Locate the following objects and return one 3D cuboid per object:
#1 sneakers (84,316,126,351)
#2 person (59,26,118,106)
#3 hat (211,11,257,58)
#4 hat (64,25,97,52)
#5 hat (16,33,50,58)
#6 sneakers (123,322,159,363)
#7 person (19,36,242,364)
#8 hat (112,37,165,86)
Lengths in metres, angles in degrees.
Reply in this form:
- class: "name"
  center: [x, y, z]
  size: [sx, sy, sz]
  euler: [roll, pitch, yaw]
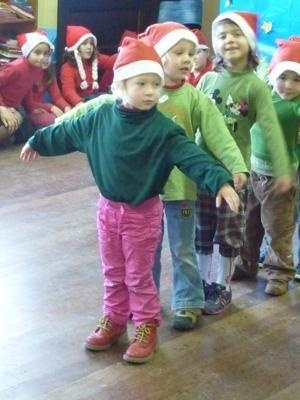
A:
- class: "sneakers"
  center: [-0.137, 0.409, 1.132]
  size: [0.169, 0.083, 0.067]
  euler: [1, 4, -45]
- class: "person"
  center: [-0.822, -1.848, 5.012]
  size: [0.822, 0.969, 0.676]
  euler: [-13, 32, -19]
- class: "hat"
  center: [0.343, -0.639, 1.467]
  size: [0.151, 0.192, 0.158]
  euler: [2, 8, 21]
- class: "hat"
  center: [-0.908, -2.206, 4.993]
  size: [0.509, 0.376, 0.361]
  euler: [9, 25, 21]
- class: "hat"
  center: [-1.386, -1.960, 4.534]
  size: [0.312, 0.270, 0.369]
  euler: [32, 47, 22]
- class: "sneakers"
  center: [-0.021, 0.411, 1.064]
  size: [0.067, 0.099, 0.169]
  euler: [-5, -7, 26]
- class: "person"
  center: [-0.057, 0.001, 1.083]
  size: [0.727, 0.920, 0.211]
  euler: [3, 3, 34]
- class: "hat"
  center: [-0.048, -0.403, 1.011]
  size: [0.134, 0.105, 0.096]
  euler: [-5, 24, 11]
